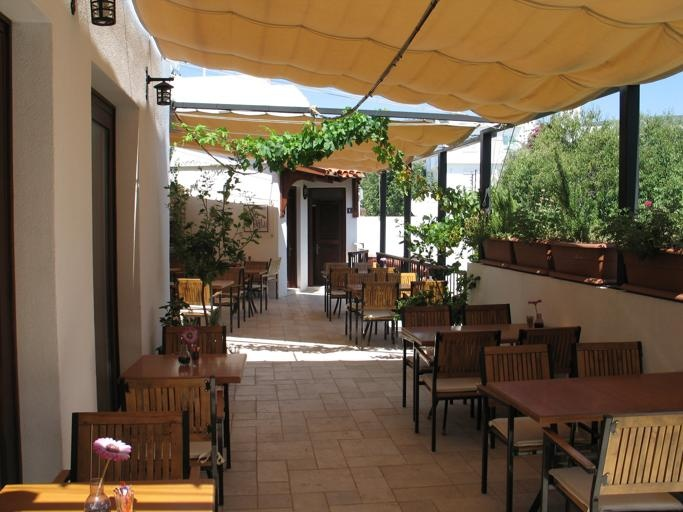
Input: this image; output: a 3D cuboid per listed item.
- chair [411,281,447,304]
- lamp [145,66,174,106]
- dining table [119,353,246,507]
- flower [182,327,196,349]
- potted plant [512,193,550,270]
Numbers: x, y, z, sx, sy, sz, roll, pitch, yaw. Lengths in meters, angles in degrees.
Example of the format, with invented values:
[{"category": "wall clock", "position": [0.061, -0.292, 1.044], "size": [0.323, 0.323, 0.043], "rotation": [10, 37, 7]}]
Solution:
[{"category": "chair", "position": [1.281, 0.537, 8.848], "size": [0.348, 0.265, 0.372], "rotation": [1, 4, 0]}, {"category": "lamp", "position": [-1.851, -1.713, 6.274], "size": [0.331, 0.493, 0.252], "rotation": [0, 6, -4]}, {"category": "dining table", "position": [-1.246, 1.240, 4.728], "size": [0.920, 0.955, 0.971], "rotation": [0, 2, 0]}, {"category": "flower", "position": [-1.259, 0.678, 5.049], "size": [0.118, 0.192, 0.247], "rotation": [0, 1, -14]}, {"category": "potted plant", "position": [2.122, -0.285, 6.897], "size": [0.515, 0.861, 0.846], "rotation": [-2, 6, 1]}]
